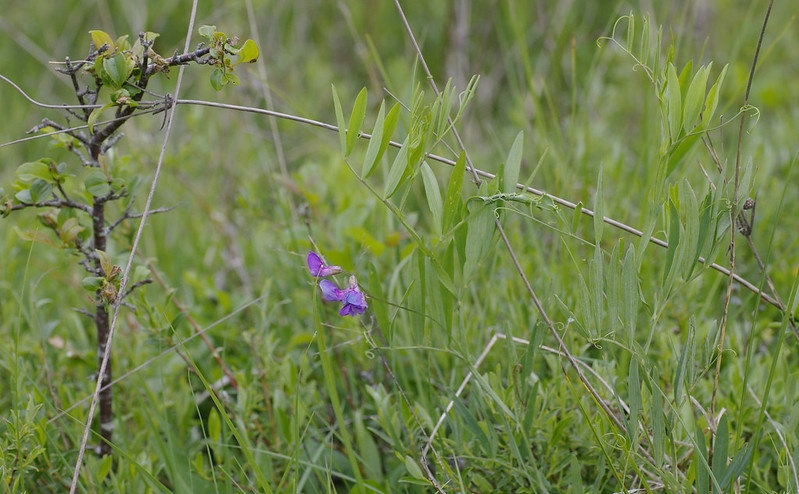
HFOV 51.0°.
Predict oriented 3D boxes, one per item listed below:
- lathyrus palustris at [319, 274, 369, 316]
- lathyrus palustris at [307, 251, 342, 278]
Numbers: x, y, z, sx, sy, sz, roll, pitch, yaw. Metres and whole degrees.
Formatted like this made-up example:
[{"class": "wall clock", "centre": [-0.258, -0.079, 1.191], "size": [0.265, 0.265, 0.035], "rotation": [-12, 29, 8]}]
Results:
[{"class": "lathyrus palustris", "centre": [-0.167, 0.141, 2.453], "size": [0.128, 0.140, 0.153], "rotation": [-6, 23, -6]}, {"class": "lathyrus palustris", "centre": [-0.220, 0.056, 2.408], "size": [0.062, 0.053, 0.098], "rotation": [37, 20, 29]}]
